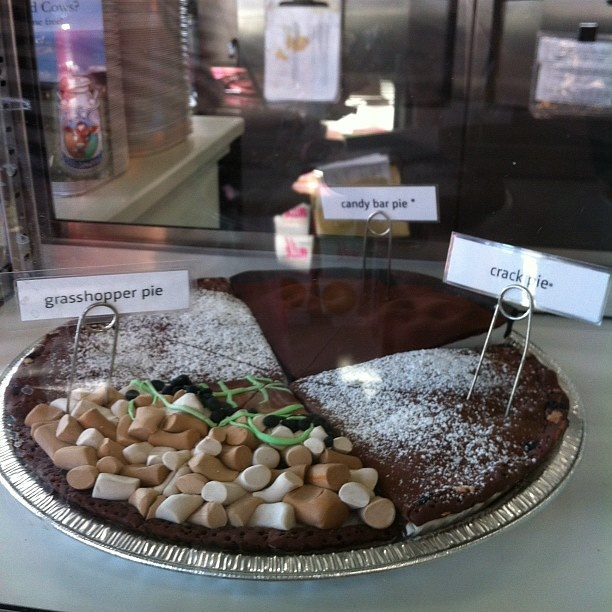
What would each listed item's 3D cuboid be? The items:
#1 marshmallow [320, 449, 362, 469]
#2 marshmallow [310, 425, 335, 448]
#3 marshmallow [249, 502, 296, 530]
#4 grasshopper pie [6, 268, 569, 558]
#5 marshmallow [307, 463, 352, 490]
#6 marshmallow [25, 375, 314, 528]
[{"bbox_3d":[0.034,0.154,0.532,0.052,0.020,0.019,12,56,-19],"label":"marshmallow"},{"bbox_3d":[0.017,0.137,0.559,0.022,0.016,0.026,1,18,6],"label":"marshmallow"},{"bbox_3d":[-0.029,0.185,0.468,0.033,0.019,0.022,-1,43,19],"label":"marshmallow"},{"bbox_3d":[0.019,0.040,0.626,0.525,0.195,0.402,-3,26,-4],"label":"grasshopper pie"},{"bbox_3d":[0.024,0.159,0.499,0.021,0.012,0.035,-19,6,-25],"label":"marshmallow"},{"bbox_3d":[-0.139,0.150,0.536,0.199,0.051,0.139,-13,27,-25],"label":"marshmallow"}]
